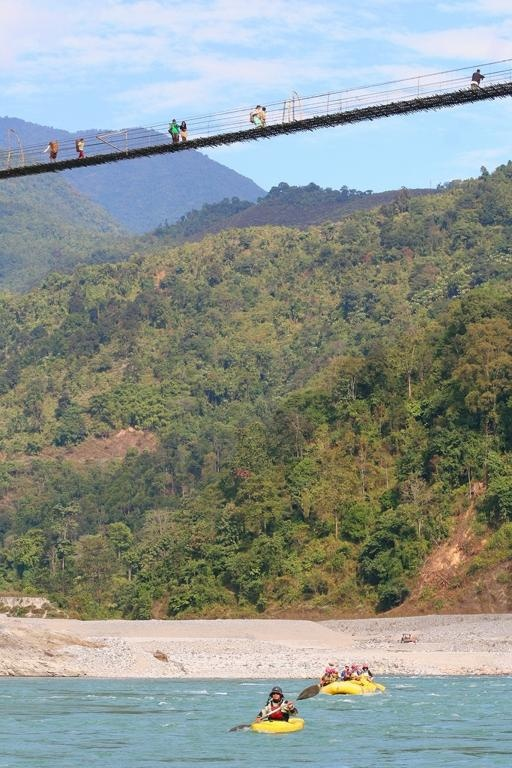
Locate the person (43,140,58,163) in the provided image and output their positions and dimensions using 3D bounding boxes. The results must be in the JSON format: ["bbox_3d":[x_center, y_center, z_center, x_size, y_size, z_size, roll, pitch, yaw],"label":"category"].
[{"bbox_3d":[-10.166,-11.319,92.250,0.691,0.949,1.672,-3,11,-8],"label":"person"}]

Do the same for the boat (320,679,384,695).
[{"bbox_3d":[4.265,14.414,89.718,2.836,0.529,1.104,-2,11,3],"label":"boat"}]

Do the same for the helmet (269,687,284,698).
[{"bbox_3d":[0.678,13.739,84.678,0.407,0.428,0.632,0,-17,0],"label":"helmet"}]
